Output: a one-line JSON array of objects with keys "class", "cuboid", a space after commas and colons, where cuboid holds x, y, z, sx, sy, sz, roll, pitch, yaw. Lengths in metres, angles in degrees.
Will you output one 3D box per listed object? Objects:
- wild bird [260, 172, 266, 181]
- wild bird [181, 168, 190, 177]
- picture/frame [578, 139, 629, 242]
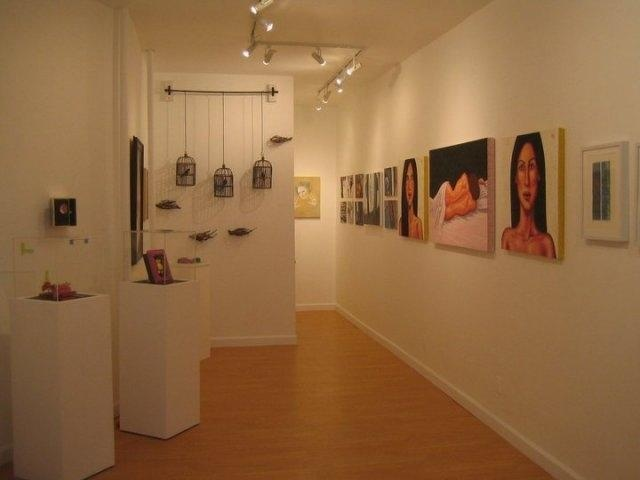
[{"class": "wild bird", "cuboid": [-0.810, -0.903, 7.323, 0.060, 0.104, 0.088, -1, -29, 0]}, {"class": "wild bird", "cuboid": [-1.857, -0.929, 7.192, 0.082, 0.061, 0.088, -2, -4, 29]}, {"class": "picture/frame", "cuboid": [2.142, -0.363, 3.889, 0.086, 0.719, 0.397, -2, 6, -24]}]
